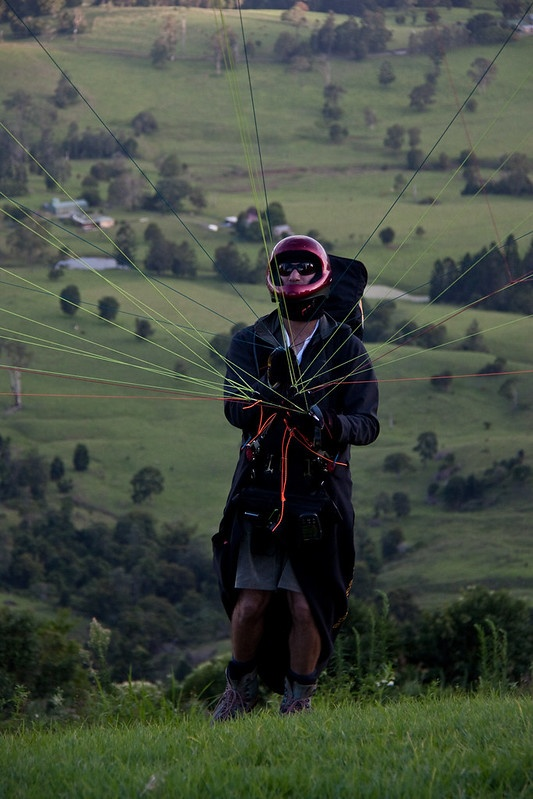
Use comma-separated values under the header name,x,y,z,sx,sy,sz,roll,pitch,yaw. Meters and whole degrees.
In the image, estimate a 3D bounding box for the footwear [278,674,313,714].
name,x,y,z,sx,sy,sz,roll,pitch,yaw
footwear,0.261,2.894,11.461,0.364,0.378,0.473,1,-5,14

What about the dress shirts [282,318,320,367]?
name,x,y,z,sx,sy,sz,roll,pitch,yaw
dress shirts,0.332,-0.579,11.861,0.510,0.338,0.441,1,-7,3

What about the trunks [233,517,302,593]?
name,x,y,z,sx,sy,sz,roll,pitch,yaw
trunks,-0.032,1.638,11.704,0.442,0.598,0.761,-20,-26,34
